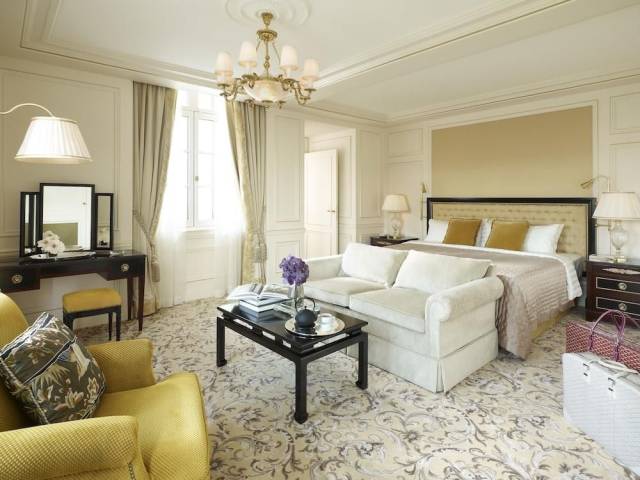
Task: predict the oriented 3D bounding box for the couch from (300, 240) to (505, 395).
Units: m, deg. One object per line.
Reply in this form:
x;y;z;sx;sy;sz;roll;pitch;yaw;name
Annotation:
0.678;0.574;3.936;1.016;0.909;1.943;-12;12;-38;couch

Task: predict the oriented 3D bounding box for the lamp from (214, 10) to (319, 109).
-0.463;-1.552;3.442;0.931;0.735;0.874;-1;7;-18;lamp

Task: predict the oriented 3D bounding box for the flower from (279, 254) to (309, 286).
-0.205;0.257;3.329;0.246;0.239;0.246;1;-1;-43;flower

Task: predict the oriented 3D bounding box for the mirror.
-2.651;-0.161;4.031;0.930;0.744;0.150;-1;1;-43;mirror

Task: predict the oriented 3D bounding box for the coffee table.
-0.128;0.675;3.040;0.774;0.521;1.142;-2;3;-41;coffee table

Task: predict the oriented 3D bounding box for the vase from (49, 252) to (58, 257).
-2.613;0.147;3.839;0.075;0.030;0.066;-7;14;-30;vase

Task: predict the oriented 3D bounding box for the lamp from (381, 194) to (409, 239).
1.308;-0.402;6.791;0.610;0.677;0.568;-1;1;8;lamp

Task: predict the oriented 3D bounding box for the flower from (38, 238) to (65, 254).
-2.643;0.065;3.895;0.145;0.149;0.230;9;16;35;flower

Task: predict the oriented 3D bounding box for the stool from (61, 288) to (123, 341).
-2.257;0.804;3.865;0.518;0.483;0.421;-2;-3;-39;stool

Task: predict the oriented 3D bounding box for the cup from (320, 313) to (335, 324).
0.063;0.600;3.019;0.086;0.057;0.065;1;1;24;cup

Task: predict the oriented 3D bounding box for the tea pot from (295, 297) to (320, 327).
-0.095;0.546;2.973;0.218;0.221;0.180;-3;-3;31;tea pot

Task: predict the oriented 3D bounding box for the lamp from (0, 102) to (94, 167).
-1.585;-0.592;2.371;0.599;0.323;0.424;-1;3;-12;lamp
